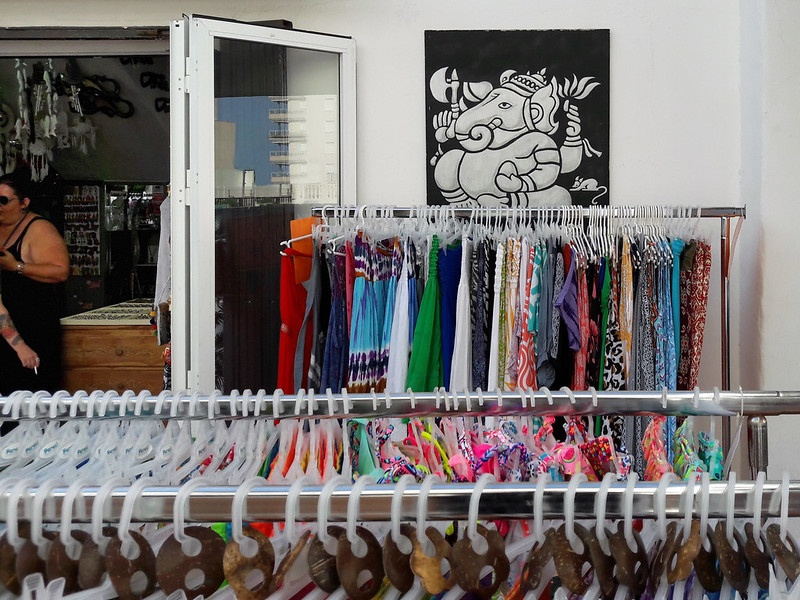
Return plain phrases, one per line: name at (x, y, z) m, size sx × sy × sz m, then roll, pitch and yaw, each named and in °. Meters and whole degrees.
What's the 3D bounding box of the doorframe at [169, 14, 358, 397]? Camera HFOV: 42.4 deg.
doorframe at (-0.552, -0.392, 4.442) m, size 0.678 × 1.831 × 0.039 m, roll 4°, pitch -26°, yaw -16°
